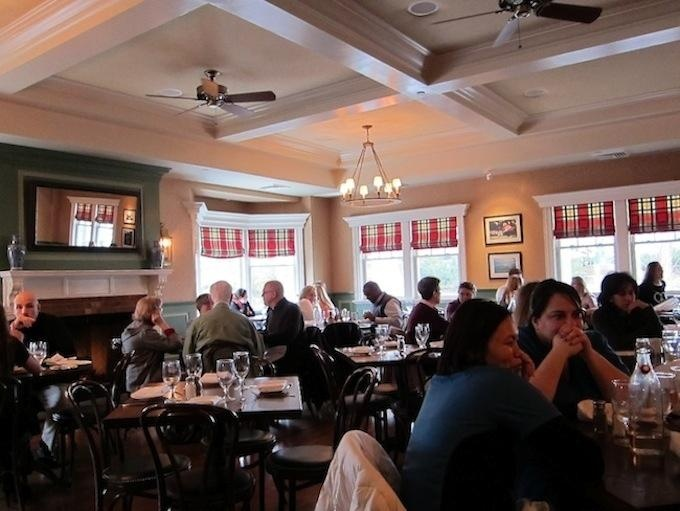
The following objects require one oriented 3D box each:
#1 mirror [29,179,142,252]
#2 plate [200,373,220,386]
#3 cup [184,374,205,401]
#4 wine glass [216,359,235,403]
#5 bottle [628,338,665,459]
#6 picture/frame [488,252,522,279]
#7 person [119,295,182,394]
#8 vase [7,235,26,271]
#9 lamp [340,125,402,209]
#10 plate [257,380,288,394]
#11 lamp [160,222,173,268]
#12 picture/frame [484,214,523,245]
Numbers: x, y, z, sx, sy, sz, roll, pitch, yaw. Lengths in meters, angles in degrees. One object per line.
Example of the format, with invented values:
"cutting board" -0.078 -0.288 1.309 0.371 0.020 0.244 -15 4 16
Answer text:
"mirror" -3.552 -0.547 7.004 0.049 0.624 1.147 6 5 43
"plate" -0.969 0.913 3.771 0.194 0.026 0.189 0 0 -44
"cup" -0.948 0.853 3.290 0.132 0.181 0.132 -1 -4 0
"wine glass" -0.727 0.781 3.291 0.100 0.255 0.399 -2 -3 -12
"bottle" 1.232 0.579 2.054 0.130 0.376 0.265 -4 -3 31
"picture/frame" 2.932 0.171 8.965 0.504 0.403 0.041 -4 -8 39
"person" -1.723 0.960 4.900 0.654 1.062 0.470 -6 6 -32
"vase" -4.004 -0.032 6.322 0.183 0.429 0.248 0 -3 -33
"lamp" 0.532 -1.312 9.072 1.314 1.433 1.255 -1 -14 0
"plate" -0.444 0.886 3.459 0.182 0.055 0.247 -2 -3 0
"lamp" -2.842 -0.165 8.402 0.162 0.744 0.529 -1 -3 -15
"picture/frame" 2.982 -0.464 9.192 0.600 0.464 0.043 -1 -2 34
